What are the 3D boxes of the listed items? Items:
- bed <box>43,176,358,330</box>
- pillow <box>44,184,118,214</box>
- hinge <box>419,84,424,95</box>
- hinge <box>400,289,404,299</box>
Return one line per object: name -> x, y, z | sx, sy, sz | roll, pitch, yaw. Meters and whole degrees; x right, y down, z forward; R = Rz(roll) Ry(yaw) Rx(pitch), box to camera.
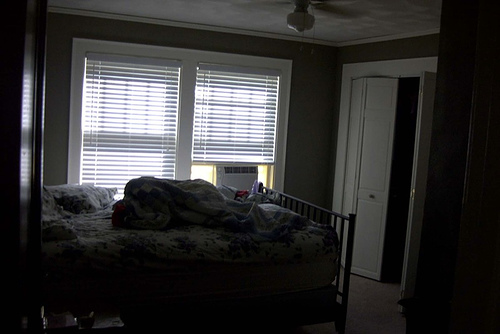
bed -> -0.345, 0.600, 2.774 | 2.045, 0.967, 1.188 | 1, 6, -18
pillow -> -1.359, 0.227, 3.372 | 0.527, 0.149, 0.429 | 19, 2, 8
hinge -> 1.459, -0.664, 3.438 | 0.014, 0.083, 0.032 | -1, 6, -41
hinge -> 1.303, 1.074, 3.468 | 0.018, 0.101, 0.133 | 4, 6, 18
